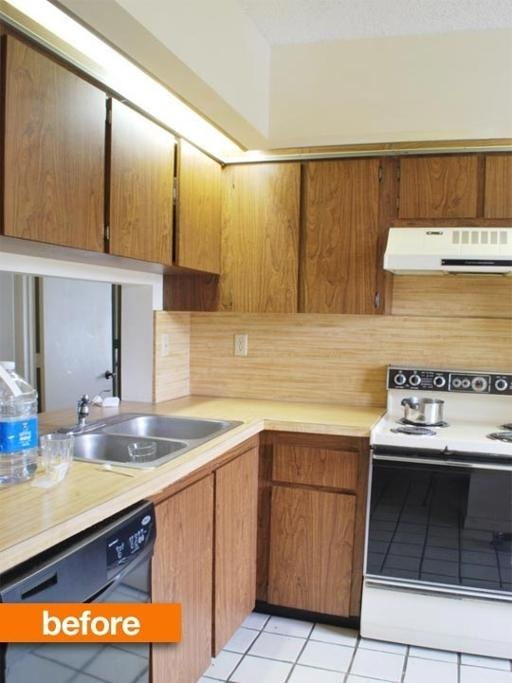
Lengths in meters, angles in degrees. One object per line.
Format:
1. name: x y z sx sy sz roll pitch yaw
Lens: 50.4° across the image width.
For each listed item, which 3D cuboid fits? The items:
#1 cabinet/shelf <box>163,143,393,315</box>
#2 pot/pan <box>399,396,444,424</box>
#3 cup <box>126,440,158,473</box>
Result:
1. cabinet/shelf: 0.195 -0.438 2.537 0.730 0.704 0.307 0 -11 7
2. pot/pan: 0.696 0.282 2.265 0.105 0.078 0.139 1 -4 -29
3. cup: -0.359 0.350 1.690 0.083 0.045 0.105 0 2 -3
